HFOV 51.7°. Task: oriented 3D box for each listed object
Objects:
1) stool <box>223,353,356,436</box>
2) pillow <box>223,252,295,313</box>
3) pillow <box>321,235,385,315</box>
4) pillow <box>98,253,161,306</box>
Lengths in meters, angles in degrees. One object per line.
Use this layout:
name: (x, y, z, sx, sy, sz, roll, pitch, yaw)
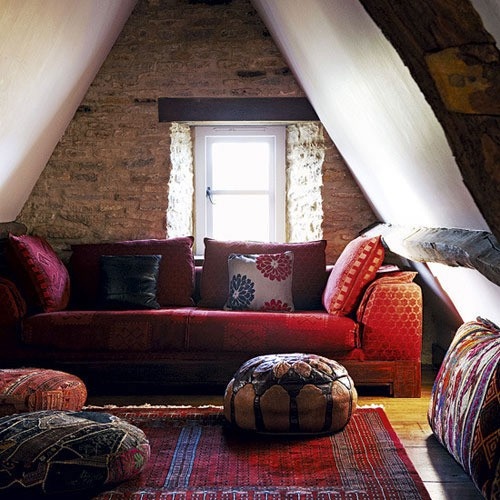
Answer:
stool: (0.194, 0.646, 2.360, 0.484, 0.179, 0.417, 1, -9, -6)
pillow: (0.072, 0.218, 3.321, 0.451, 0.323, 0.143, -1, -21, 5)
pillow: (0.613, 0.161, 3.044, 0.324, 0.405, 0.562, -4, -1, -1)
pillow: (-0.778, 0.202, 3.348, 0.400, 0.300, 0.120, -1, -30, -3)
